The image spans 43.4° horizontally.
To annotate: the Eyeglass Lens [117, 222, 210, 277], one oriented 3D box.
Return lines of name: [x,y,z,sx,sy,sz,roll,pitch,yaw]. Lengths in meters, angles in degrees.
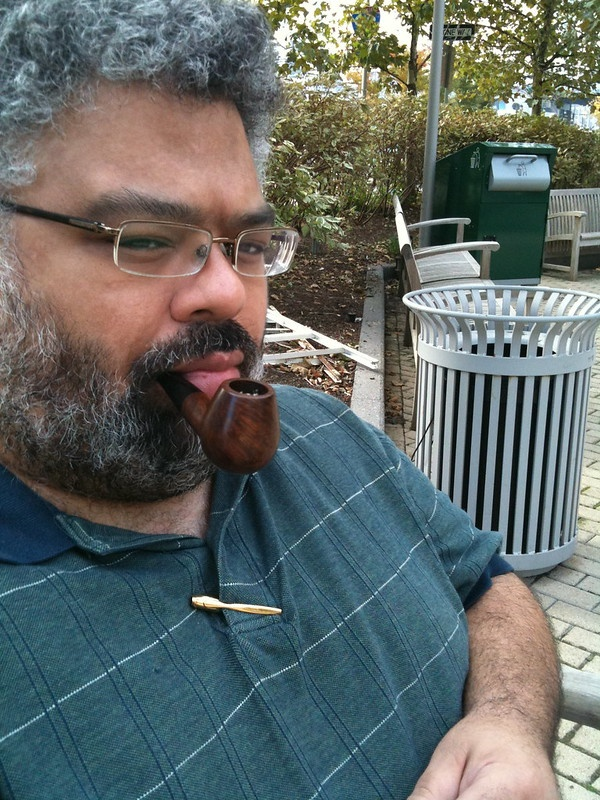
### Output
Eyeglass Lens: [-0.217,-0.240,1.205,0.037,0.091,0.166,14,20,39]

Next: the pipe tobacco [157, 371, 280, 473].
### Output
pipe tobacco: [-0.136,0.011,1.112,0.078,0.086,0.267,-3,23,-38]

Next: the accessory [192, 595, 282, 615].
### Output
accessory: [-0.118,0.364,1.330,0.143,0.026,0.026,10,51,-6]
